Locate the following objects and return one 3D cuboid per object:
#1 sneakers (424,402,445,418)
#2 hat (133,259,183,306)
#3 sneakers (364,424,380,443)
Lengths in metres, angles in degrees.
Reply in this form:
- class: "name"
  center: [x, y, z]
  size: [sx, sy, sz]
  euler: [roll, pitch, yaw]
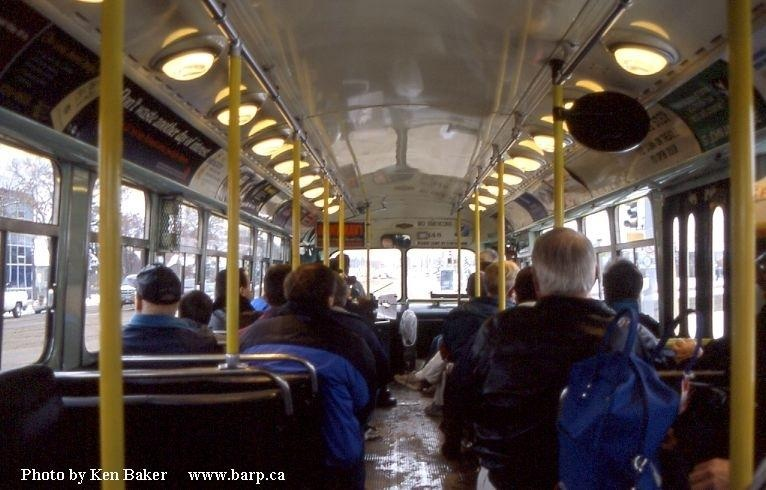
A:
- class: "sneakers"
  center: [0.660, 2.175, 7.218]
  size: [0.242, 0.168, 0.112]
  euler: [1, -18, 10]
- class: "hat"
  center: [-1.883, 0.328, 4.666]
  size: [0.279, 0.234, 0.398]
  euler: [2, 7, -27]
- class: "sneakers"
  center: [-0.135, 2.213, 6.522]
  size: [0.273, 0.134, 0.370]
  euler: [1, 5, 1]
